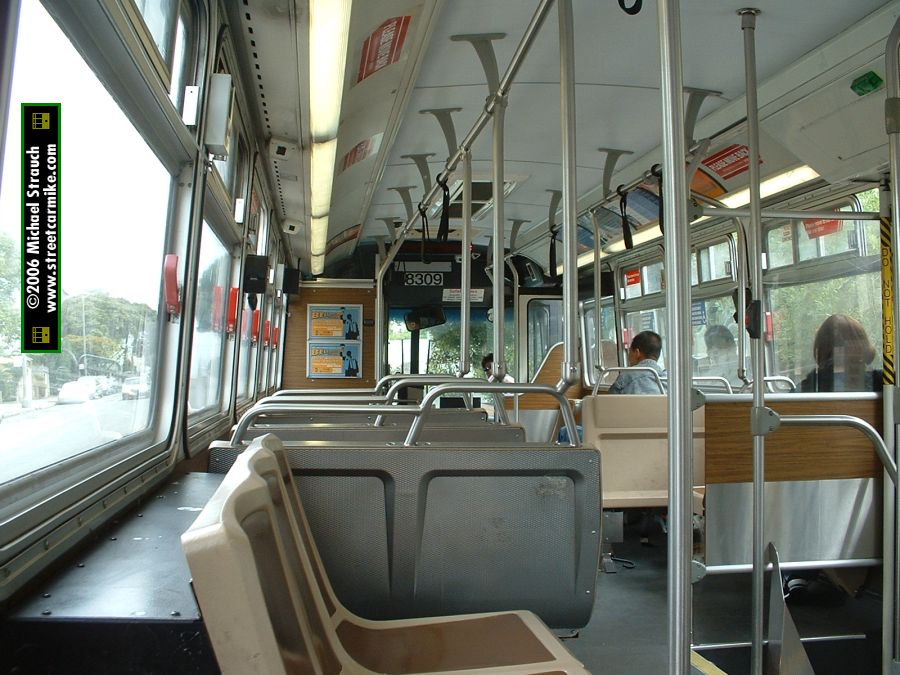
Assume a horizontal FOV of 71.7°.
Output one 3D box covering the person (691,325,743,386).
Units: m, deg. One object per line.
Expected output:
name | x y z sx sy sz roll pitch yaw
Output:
person | 2.592 0.159 6.005 0.431 0.817 0.426 7 -9 -34
